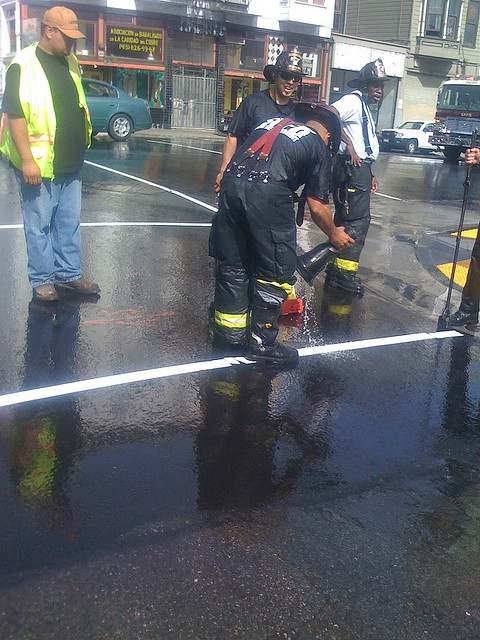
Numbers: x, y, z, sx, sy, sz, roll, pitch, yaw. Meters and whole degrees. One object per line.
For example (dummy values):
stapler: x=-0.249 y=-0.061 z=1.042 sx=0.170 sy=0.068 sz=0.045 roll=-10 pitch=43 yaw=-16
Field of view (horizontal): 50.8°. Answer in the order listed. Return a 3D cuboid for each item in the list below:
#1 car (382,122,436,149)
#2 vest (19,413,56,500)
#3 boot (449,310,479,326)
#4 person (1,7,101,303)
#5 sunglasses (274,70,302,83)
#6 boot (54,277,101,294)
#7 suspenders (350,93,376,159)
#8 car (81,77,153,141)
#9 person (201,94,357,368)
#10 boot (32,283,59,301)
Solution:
car: x=9.614 y=-10.387 z=28.467 sx=2.659 sy=1.241 sz=1.580 roll=-3 pitch=24 yaw=-11
vest: x=-0.787 y=0.525 z=1.985 sx=0.103 sy=0.057 sz=0.510 roll=3 pitch=14 yaw=-16
boot: x=1.884 y=-0.034 z=4.256 sx=0.327 sy=0.129 sz=0.092 roll=-3 pitch=15 yaw=-29
person: x=-1.468 y=-1.239 z=3.951 sx=0.542 sy=2.183 sz=0.761 roll=9 pitch=14 yaw=19
sunglasses: x=0.371 y=-1.883 z=3.848 sx=0.213 sy=0.063 sz=0.125 roll=2 pitch=14 yaw=-11
boot: x=-1.404 y=-0.337 z=4.450 sx=0.428 sy=0.196 sz=0.158 roll=0 pitch=11 yaw=3
suspenders: x=1.189 y=-1.930 z=4.901 sx=0.192 sy=0.534 sz=0.209 roll=13 pitch=25 yaw=25
car: x=-5.238 y=-8.306 z=19.403 sx=4.699 sy=2.051 sz=2.141 roll=9 pitch=29 yaw=11
person: x=0.303 y=-0.740 z=3.810 sx=1.104 sy=1.769 sz=1.583 roll=3 pitch=14 yaw=-5
boot: x=-1.558 y=-0.236 z=4.091 sx=0.102 sy=0.105 sz=0.238 roll=1 pitch=0 yaw=-35
